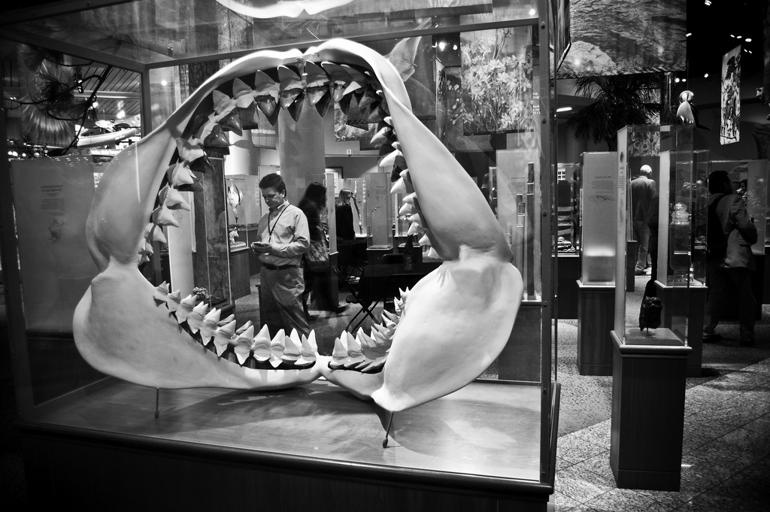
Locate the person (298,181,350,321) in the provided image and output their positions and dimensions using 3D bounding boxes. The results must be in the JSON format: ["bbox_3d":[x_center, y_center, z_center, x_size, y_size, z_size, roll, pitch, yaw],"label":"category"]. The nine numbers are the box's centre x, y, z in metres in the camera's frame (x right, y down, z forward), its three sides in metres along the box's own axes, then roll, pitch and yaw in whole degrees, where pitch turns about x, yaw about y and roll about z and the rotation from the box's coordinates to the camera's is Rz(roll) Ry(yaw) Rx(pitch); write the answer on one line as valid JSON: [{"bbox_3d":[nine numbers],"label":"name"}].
[{"bbox_3d":[-0.520,-0.056,5.167,0.327,1.053,0.475,0,4,-8],"label":"person"}]
